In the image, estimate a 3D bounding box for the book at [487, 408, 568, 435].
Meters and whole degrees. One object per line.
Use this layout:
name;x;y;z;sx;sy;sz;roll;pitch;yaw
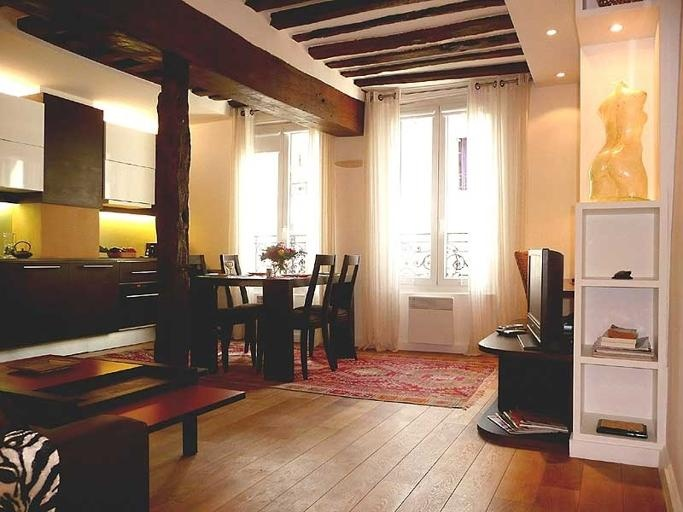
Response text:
book;1.223;1.098;3.336;0.441;0.052;0.451;0;1;-5

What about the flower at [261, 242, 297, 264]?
flower;-0.680;-0.038;5.135;0.279;0.132;0.285;10;14;32

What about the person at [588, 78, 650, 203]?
person;1.665;-0.695;2.982;0.294;0.722;0.111;1;2;31

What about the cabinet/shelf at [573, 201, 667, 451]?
cabinet/shelf;1.770;0.570;3.126;0.367;0.990;0.279;-4;11;6

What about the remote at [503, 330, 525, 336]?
remote;1.329;0.590;3.809;0.096;0.024;0.059;-1;2;-2

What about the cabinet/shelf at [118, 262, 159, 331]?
cabinet/shelf;-2.593;0.528;6.059;0.606;0.897;0.632;-1;-6;-38

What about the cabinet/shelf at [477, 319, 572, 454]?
cabinet/shelf;1.251;0.923;3.344;0.540;0.451;1.013;1;2;16

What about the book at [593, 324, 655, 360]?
book;1.690;0.516;2.984;0.309;0.145;0.243;1;2;27

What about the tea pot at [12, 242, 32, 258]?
tea pot;-3.238;-0.066;5.040;0.160;0.214;0.158;1;5;0

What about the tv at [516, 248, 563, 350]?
tv;1.431;0.302;3.568;0.284;0.770;0.765;0;1;5

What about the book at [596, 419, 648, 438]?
book;1.676;1.025;2.966;0.262;0.035;0.267;1;1;31

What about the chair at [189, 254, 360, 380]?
chair;-0.782;0.609;5.077;1.068;0.955;1.565;0;1;24
